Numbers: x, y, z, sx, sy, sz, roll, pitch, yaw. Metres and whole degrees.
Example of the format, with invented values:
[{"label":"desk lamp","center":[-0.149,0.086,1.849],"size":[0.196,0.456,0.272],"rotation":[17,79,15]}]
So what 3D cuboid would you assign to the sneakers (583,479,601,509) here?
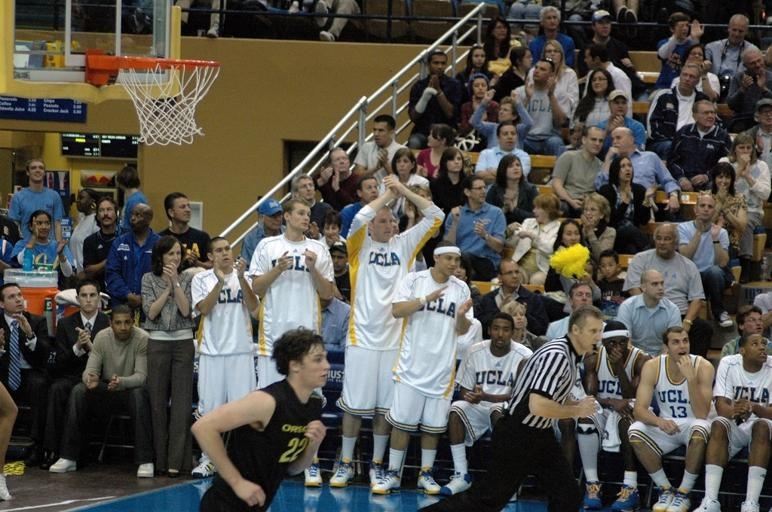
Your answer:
[{"label":"sneakers","center":[2.576,2.982,14.279],"size":[0.217,0.357,0.205],"rotation":[0,-9,8]}]

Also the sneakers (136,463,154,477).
[{"label":"sneakers","center":[-3.134,2.835,15.158],"size":[0.216,0.177,0.162],"rotation":[3,-9,-11]}]

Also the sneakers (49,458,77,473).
[{"label":"sneakers","center":[-4.249,2.791,15.268],"size":[0.325,0.151,0.157],"rotation":[4,1,-5]}]

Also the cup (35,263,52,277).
[{"label":"cup","center":[-4.974,0.199,16.888],"size":[0.263,0.218,0.487],"rotation":[4,-10,-16]}]

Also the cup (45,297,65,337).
[{"label":"cup","center":[-4.742,0.878,16.533],"size":[0.270,0.570,0.166],"rotation":[4,-9,-22]}]

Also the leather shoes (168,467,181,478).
[{"label":"leather shoes","center":[-2.764,2.866,15.159],"size":[0.148,0.117,0.120],"rotation":[3,-9,-15]}]

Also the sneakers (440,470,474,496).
[{"label":"sneakers","center":[0.855,2.887,14.503],"size":[0.549,0.248,0.189],"rotation":[-11,10,-39]}]

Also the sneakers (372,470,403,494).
[{"label":"sneakers","center":[0.019,2.880,14.580],"size":[0.355,0.300,0.220],"rotation":[2,-9,-6]}]

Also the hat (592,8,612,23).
[{"label":"hat","center":[3.761,-4.156,19.877],"size":[0.281,0.243,0.420],"rotation":[3,3,-5]}]
